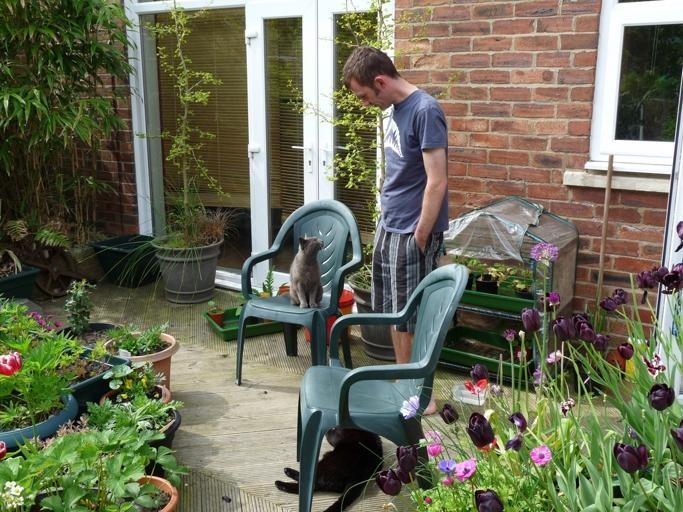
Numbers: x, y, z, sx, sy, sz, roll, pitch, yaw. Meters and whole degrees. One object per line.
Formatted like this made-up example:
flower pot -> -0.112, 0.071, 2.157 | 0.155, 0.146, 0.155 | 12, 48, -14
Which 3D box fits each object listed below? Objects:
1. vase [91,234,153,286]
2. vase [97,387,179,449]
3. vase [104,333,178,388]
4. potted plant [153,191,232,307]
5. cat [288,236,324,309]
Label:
vase -> -2.159, 0.059, 5.338 | 0.835, 0.499, 0.406 | 9, 12, 34
vase -> -0.968, 0.794, 2.611 | 0.381, 0.282, 0.379 | 1, 11, -5
vase -> -1.151, 0.640, 3.059 | 0.374, 0.273, 0.372 | 0, 12, -6
potted plant -> -1.548, -0.028, 5.083 | 0.766, 0.942, 0.908 | 1, -3, -29
cat -> -0.212, 0.096, 3.304 | 0.232, 0.424, 0.443 | -2, -31, -2
